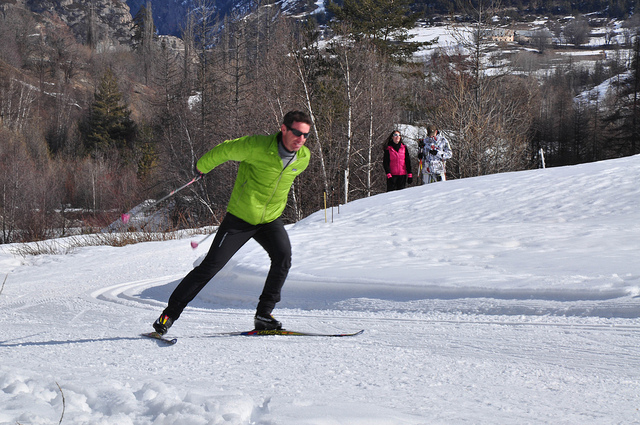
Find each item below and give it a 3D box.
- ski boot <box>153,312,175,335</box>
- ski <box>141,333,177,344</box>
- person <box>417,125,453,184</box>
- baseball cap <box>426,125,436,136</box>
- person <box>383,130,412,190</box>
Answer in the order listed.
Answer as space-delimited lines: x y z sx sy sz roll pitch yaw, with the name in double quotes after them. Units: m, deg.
-3.591 2.570 15.194 0.482 0.538 0.259 -7 12 -16 "ski boot"
-3.671 2.857 15.110 0.865 0.203 0.198 1 12 24 "ski"
4.085 -2.030 23.566 0.795 2.068 1.072 -7 12 -15 "person"
3.844 -2.829 23.121 0.301 0.358 0.368 -1 10 1 "baseball cap"
2.681 -1.800 23.088 0.896 2.109 0.837 -7 12 -11 "person"
